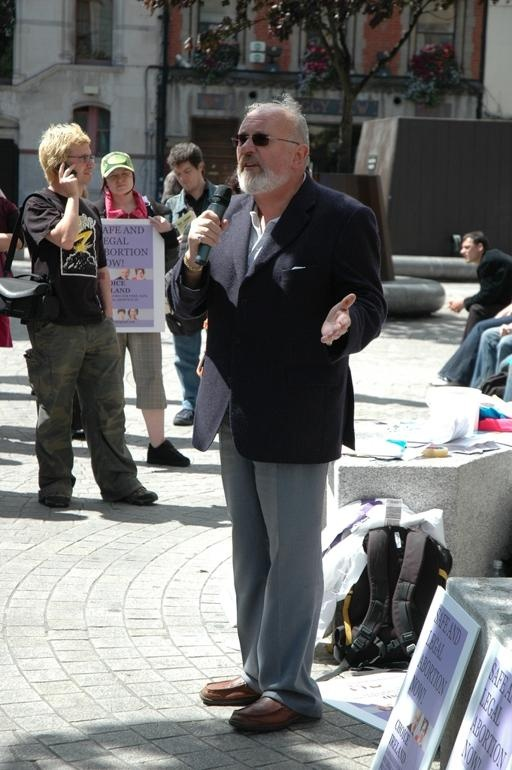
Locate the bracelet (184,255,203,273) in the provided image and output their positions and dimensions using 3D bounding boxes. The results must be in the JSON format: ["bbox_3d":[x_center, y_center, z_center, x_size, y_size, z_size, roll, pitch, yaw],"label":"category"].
[{"bbox_3d":[-0.205,-0.379,2.895,0.050,0.023,0.061,20,-11,8],"label":"bracelet"}]

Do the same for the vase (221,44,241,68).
[{"bbox_3d":[-0.908,-11.244,31.305,0.682,0.748,0.866,0,15,-1],"label":"vase"}]

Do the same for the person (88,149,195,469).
[{"bbox_3d":[-0.815,-0.511,6.473,0.685,2.171,0.736,1,20,-17],"label":"person"}]

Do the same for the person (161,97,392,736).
[{"bbox_3d":[0.039,0.074,2.898,0.701,1.972,0.597,3,10,26],"label":"person"}]

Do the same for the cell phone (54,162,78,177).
[{"bbox_3d":[-1.081,-1.221,5.156,0.127,0.076,0.255,-3,8,-12],"label":"cell phone"}]

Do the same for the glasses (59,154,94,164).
[{"bbox_3d":[-1.063,-1.297,5.252,0.113,0.032,0.108,6,8,39],"label":"glasses"}]

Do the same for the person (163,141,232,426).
[{"bbox_3d":[-0.570,-0.650,7.402,0.605,2.523,0.699,0,17,-15],"label":"person"}]
